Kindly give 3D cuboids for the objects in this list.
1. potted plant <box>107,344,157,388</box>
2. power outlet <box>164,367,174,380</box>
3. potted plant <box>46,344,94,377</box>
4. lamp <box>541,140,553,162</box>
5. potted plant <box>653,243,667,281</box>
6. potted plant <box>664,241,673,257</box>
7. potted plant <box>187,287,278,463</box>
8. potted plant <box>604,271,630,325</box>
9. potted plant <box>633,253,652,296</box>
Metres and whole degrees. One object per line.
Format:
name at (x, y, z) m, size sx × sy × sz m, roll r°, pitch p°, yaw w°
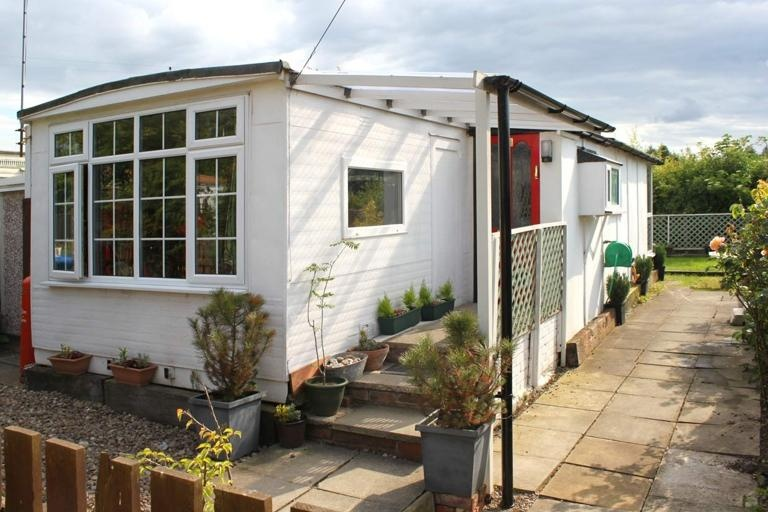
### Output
potted plant at (-3.764, 1.653, 9.620) m, size 0.651 × 0.452 × 0.370 m, roll 4°, pitch 5°, yaw 23°
power outlet at (-3.153, 1.722, 9.463) m, size 0.181 × 0.177 × 0.098 m, roll 5°, pitch 8°, yaw 37°
potted plant at (-4.902, 1.641, 10.093) m, size 0.457 × 0.293 × 0.609 m, roll 1°, pitch 3°, yaw -20°
lamp at (2.804, -1.792, 11.136) m, size 0.189 × 0.385 × 0.108 m, roll -1°, pitch 4°, yaw 14°
potted plant at (7.696, 0.209, 18.121) m, size 0.280 × 0.964 × 0.641 m, roll 0°, pitch 4°, yaw 20°
potted plant at (10.048, -0.215, 22.832) m, size 0.295 × 0.529 × 0.548 m, roll 0°, pitch 4°, yaw 28°
potted plant at (-2.133, 1.525, 8.682) m, size 1.156 × 2.165 × 0.852 m, roll 0°, pitch 4°, yaw 30°
potted plant at (4.774, 0.855, 13.244) m, size 0.381 × 1.129 × 0.585 m, roll 0°, pitch 4°, yaw 24°
potted plant at (6.303, 0.488, 15.815) m, size 0.333 × 0.958 × 0.836 m, roll 1°, pitch 4°, yaw 31°
